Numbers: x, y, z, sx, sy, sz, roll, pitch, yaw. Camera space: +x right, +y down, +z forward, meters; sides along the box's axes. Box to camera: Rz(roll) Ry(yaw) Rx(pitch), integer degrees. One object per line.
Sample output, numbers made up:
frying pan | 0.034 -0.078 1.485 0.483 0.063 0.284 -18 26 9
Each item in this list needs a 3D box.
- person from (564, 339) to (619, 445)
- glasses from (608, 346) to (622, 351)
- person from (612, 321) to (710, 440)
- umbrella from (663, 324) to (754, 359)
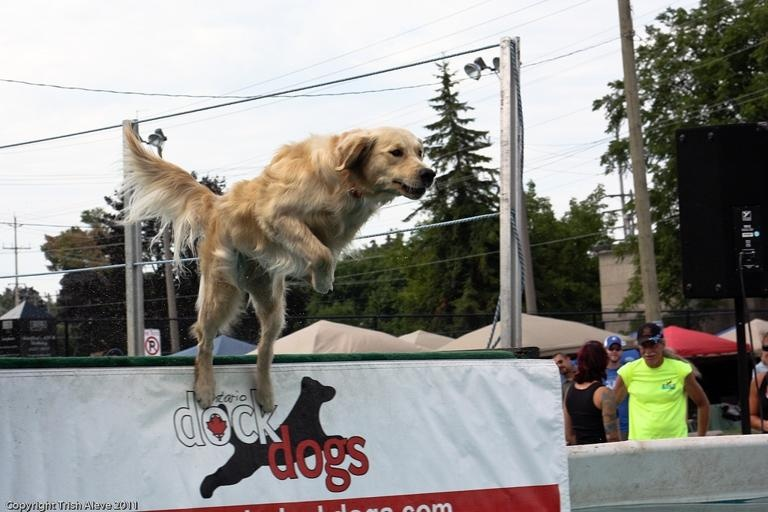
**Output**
person | 3.575 2.355 22.769 0.883 1.730 0.289 -4 -4 18
glasses | 4.441 1.737 25.117 0.167 0.118 0.265 5 0 10
person | 4.756 2.145 22.696 1.576 1.961 0.545 -4 -4 11
umbrella | 6.961 1.923 29.033 1.425 0.593 1.411 4 -7 -15
